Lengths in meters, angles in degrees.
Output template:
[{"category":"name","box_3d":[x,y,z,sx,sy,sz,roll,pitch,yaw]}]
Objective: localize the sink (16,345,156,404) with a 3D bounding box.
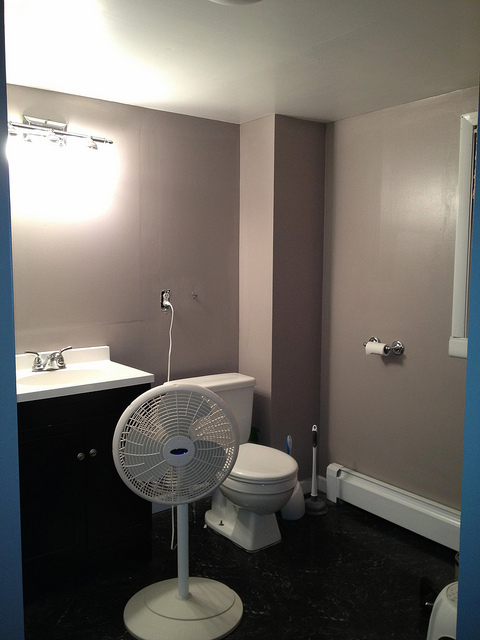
[{"category":"sink","box_3d":[-0.734,0.226,2.204,0.576,0.151,0.502,-1,4,-40]}]

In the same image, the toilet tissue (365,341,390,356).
[{"category":"toilet tissue","box_3d":[0.711,0.157,2.664,0.056,0.055,0.098,3,-3,-33]}]

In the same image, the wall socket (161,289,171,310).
[{"category":"wall socket","box_3d":[-0.414,-0.106,2.805,0.014,0.108,0.065,2,3,38]}]

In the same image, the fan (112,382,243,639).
[{"category":"fan","box_3d":[-0.211,0.660,1.881,0.448,0.906,0.387,1,2,-1]}]

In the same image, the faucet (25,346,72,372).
[{"category":"faucet","box_3d":[-0.882,0.179,2.373,0.233,0.127,0.085,-6,8,-41]}]

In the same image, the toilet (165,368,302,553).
[{"category":"toilet","box_3d":[-0.024,0.709,2.547,0.390,0.780,0.694,-2,5,-36]}]
